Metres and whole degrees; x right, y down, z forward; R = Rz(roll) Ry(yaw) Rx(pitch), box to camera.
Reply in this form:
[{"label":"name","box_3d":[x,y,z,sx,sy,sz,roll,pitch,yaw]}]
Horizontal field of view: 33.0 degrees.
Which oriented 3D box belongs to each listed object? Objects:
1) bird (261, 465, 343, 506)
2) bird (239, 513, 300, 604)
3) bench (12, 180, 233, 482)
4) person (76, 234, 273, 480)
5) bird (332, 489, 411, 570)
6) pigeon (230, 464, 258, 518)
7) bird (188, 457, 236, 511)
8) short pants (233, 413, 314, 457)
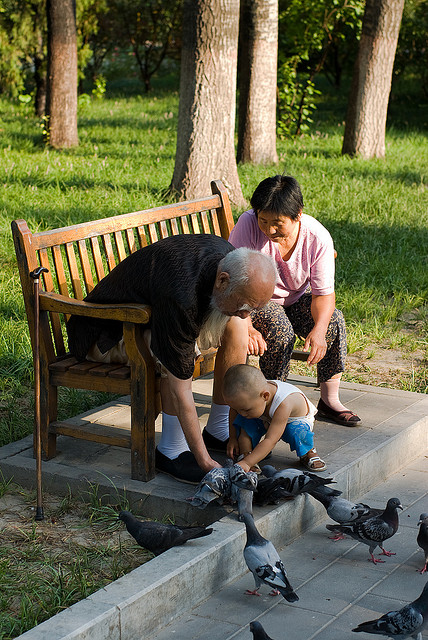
[{"label":"bird","box_3d":[0.365,0.708,3.169,0.372,0.148,0.113,6,7,1]},{"label":"bird","box_3d":[0.179,0.832,2.538,0.108,0.254,0.318,-2,2,-39]},{"label":"bench","box_3d":[-0.164,-0.071,4.349,0.845,1.207,2.077,10,20,25]},{"label":"person","box_3d":[-0.160,0.128,3.387,0.881,1.079,0.614,21,31,32]},{"label":"bird","box_3d":[0.697,0.887,3.102,0.309,0.276,0.236,-5,12,-35]},{"label":"pigeon","box_3d":[0.118,0.697,2.986,0.073,0.215,0.207,2,8,15]},{"label":"bird","box_3d":[0.012,0.709,3.082,0.123,0.122,0.331,21,31,26]},{"label":"short pants","box_3d":[0.292,0.565,3.592,0.399,0.204,0.094,2,10,-1]}]
